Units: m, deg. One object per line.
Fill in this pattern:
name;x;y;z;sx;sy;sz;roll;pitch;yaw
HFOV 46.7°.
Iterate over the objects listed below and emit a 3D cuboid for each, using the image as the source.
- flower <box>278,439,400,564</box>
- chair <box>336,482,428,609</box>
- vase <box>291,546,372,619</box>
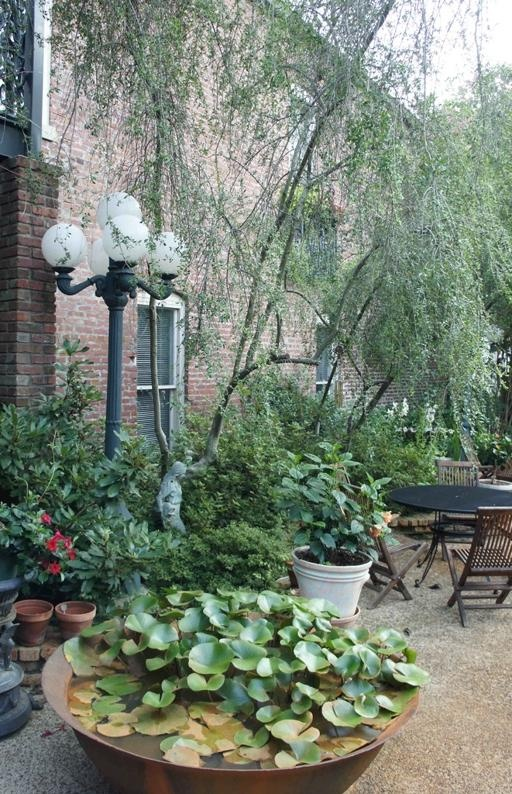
flower;0.523;0.700;3.598;0.707;0.769;0.687;-9;1;13
chair;0.958;1.105;4.243;0.496;0.564;0.491;0;1;-44
vase;0.411;1.010;3.255;0.467;0.375;0.457;1;-6;-1
